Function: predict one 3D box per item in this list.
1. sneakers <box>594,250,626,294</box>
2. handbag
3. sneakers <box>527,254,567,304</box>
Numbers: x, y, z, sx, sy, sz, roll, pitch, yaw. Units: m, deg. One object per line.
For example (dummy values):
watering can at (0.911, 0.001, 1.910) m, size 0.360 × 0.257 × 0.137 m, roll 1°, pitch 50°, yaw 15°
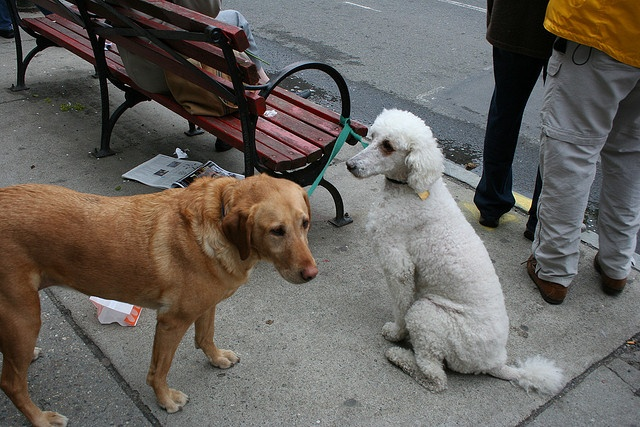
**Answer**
sneakers at (2.522, 0.519, 4.283) m, size 0.166 × 0.180 × 0.428 m, roll -2°, pitch 43°, yaw 10°
handbag at (-0.940, -1.143, 4.184) m, size 0.743 × 0.688 × 0.377 m, roll -5°, pitch 8°, yaw -16°
sneakers at (1.926, 0.557, 4.256) m, size 0.181 × 0.208 × 0.487 m, roll -8°, pitch 39°, yaw -5°
